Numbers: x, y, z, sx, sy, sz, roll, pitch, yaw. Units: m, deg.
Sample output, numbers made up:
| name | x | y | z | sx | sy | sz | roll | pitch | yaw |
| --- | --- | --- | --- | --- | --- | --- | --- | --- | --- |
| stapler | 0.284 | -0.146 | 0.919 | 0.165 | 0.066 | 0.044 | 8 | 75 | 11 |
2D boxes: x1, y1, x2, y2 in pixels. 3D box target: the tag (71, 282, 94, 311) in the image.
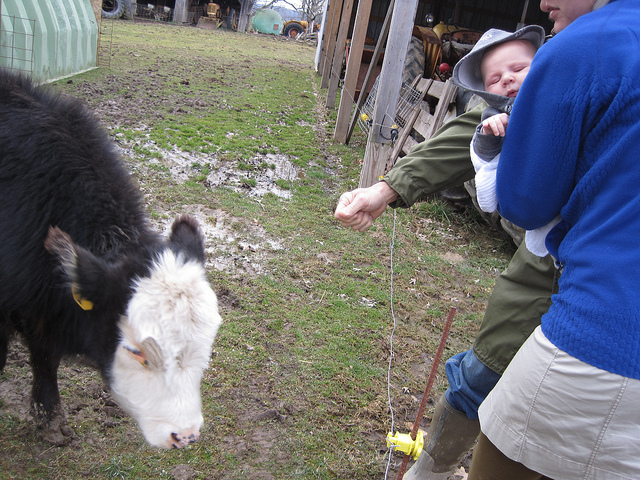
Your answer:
| name | x | y | z | sx | sy | sz | roll | pitch | yaw |
| --- | --- | --- | --- | --- | --- | --- | --- | --- | --- |
| tag | -1.183 | 0.284 | 2.433 | 0.046 | 0.136 | 0.101 | -16 | 9 | -9 |

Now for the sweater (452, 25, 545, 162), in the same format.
| name | x | y | z | sx | sy | sz | roll | pitch | yaw |
| --- | --- | --- | --- | --- | --- | --- | --- | --- | --- |
| sweater | 0.868 | -0.660 | 2.395 | 0.401 | 0.782 | 0.377 | 0 | -25 | 31 |
